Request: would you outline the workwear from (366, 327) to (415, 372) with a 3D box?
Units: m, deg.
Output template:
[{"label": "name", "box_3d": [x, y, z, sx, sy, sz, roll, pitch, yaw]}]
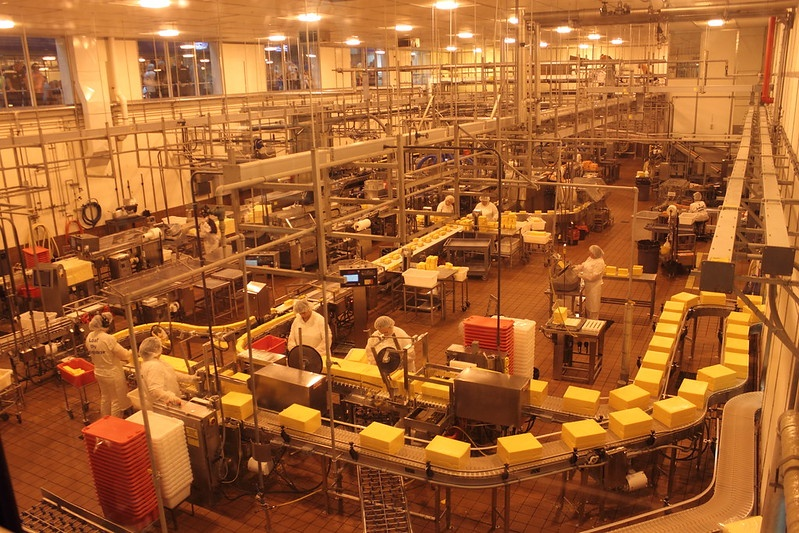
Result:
[{"label": "workwear", "box_3d": [-0.139, 1.213, 10.330, 0.790, 0.627, 0.848, 5, -23, 11]}]

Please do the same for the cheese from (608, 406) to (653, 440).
[{"label": "cheese", "box_3d": [3.147, 2.143, 8.964, 0.533, 0.281, 0.296, -4, 17, -7]}]

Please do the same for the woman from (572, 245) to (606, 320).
[{"label": "woman", "box_3d": [3.897, 0.347, 13.382, 0.627, 1.642, 0.415, -3, 17, -3]}]

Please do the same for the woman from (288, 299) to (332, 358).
[{"label": "woman", "box_3d": [-1.588, 1.127, 11.125, 0.645, 1.016, 1.143, -6, 18, -13]}]

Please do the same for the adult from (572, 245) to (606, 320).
[{"label": "adult", "box_3d": [3.902, 0.347, 13.382, 0.618, 1.642, 0.415, -3, 17, -3]}]

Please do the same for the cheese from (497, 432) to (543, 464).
[{"label": "cheese", "box_3d": [1.550, 2.366, 8.652, 0.499, 0.219, 0.330, -6, 13, -18]}]

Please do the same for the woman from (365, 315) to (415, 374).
[{"label": "woman", "box_3d": [-0.138, 1.223, 10.247, 0.753, 0.837, 1.420, -3, 17, -5]}]

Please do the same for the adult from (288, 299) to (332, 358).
[{"label": "adult", "box_3d": [-1.589, 1.130, 11.116, 0.636, 1.016, 1.379, -5, 18, -12]}]

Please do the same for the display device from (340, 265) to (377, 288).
[{"label": "display device", "box_3d": [-0.724, 0.169, 11.980, 0.655, 0.314, 0.354, 0, 7, 6]}]

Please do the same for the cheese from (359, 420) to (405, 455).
[{"label": "cheese", "box_3d": [-0.252, 2.328, 8.894, 0.577, 0.280, 0.294, 5, 18, 19]}]

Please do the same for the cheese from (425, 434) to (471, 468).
[{"label": "cheese", "box_3d": [0.656, 2.405, 8.624, 0.475, 0.209, 0.342, 9, 23, 26]}]

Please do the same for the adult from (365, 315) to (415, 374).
[{"label": "adult", "box_3d": [-0.138, 1.225, 10.244, 0.753, 0.837, 1.428, -3, 17, -5]}]
